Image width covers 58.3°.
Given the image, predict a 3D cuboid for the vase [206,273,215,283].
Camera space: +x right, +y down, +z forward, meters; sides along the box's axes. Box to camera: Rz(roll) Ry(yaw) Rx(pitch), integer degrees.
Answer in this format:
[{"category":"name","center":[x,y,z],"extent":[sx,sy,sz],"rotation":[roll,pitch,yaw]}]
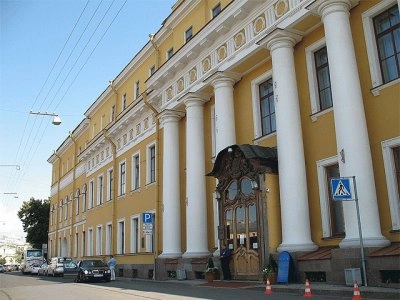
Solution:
[{"category":"vase","center":[0.520,6.501,18.336],"extent":[0.404,0.341,0.440],"rotation":[3,-25,-4]}]

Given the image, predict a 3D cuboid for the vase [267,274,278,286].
[{"category":"vase","center":[3.001,5.305,14.880],"extent":[0.484,0.428,0.525],"rotation":[-2,-17,5]}]

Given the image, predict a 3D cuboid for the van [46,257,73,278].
[{"category":"van","center":[-13.777,11.186,35.089],"extent":[2.008,1.826,4.272],"rotation":[6,-15,-27]}]

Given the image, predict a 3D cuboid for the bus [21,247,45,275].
[{"category":"bus","center":[-22.148,14.532,47.838],"extent":[1.979,2.548,5.312],"rotation":[4,-15,-24]}]

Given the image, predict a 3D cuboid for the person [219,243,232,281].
[{"category":"person","center":[1.293,5.521,17.839],"extent":[0.537,1.732,0.642],"rotation":[-6,-17,8]}]

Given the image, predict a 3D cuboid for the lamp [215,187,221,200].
[{"category":"lamp","center":[0.940,2.311,19.007],"extent":[0.172,0.650,0.367],"rotation":[11,-23,-39]}]

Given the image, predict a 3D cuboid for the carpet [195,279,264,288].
[{"category":"carpet","center":[1.362,6.042,16.215],"extent":[1.561,0.350,3.826],"rotation":[8,-23,-33]}]

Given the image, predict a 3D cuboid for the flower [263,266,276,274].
[{"category":"flower","center":[2.886,5.011,14.939],"extent":[0.374,0.313,0.378],"rotation":[-1,-2,41]}]

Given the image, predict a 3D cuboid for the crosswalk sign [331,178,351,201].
[{"category":"crosswalk sign","center":[4.797,1.310,12.204],"extent":[0.651,0.741,0.093],"rotation":[6,-14,-19]}]
